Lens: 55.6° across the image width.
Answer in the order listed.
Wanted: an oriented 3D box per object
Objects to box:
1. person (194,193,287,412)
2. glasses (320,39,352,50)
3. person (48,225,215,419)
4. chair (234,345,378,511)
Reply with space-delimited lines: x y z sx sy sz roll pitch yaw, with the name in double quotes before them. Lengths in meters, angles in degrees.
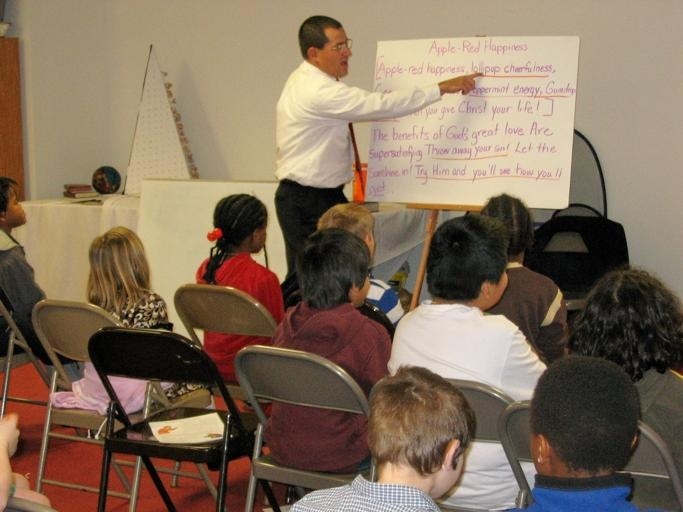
"person" -0.518 0.158 3.042 0.440 0.971 0.400 15 24 20
"glasses" -0.038 -1.176 3.591 0.151 0.052 0.155 3 13 34
"person" -0.910 0.268 2.903 0.463 0.801 0.676 5 3 25
"chair" -0.125 0.457 2.285 0.372 0.743 0.530 6 19 16
